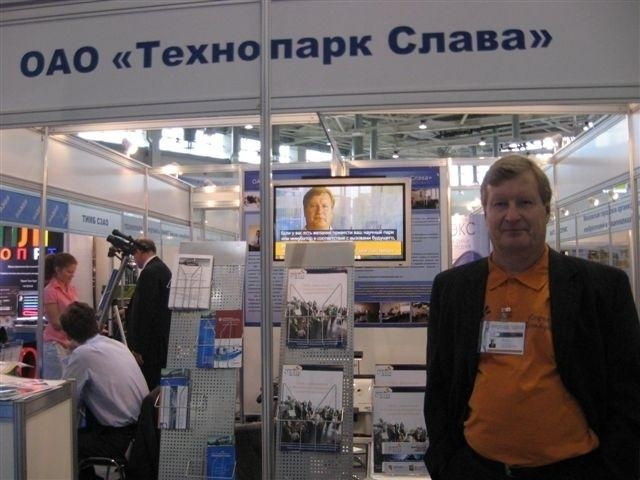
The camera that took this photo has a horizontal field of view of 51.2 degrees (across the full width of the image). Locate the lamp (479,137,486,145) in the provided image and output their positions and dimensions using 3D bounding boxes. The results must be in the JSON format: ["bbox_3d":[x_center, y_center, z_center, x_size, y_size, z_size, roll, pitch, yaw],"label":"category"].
[{"bbox_3d":[3.531,-2.150,14.543,0.115,0.132,0.126,-2,1,22],"label":"lamp"}]

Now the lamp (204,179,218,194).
[{"bbox_3d":[-1.351,-0.693,8.501,0.168,0.186,0.043,-3,-4,40],"label":"lamp"}]

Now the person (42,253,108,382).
[{"bbox_3d":[-2.367,0.914,6.223,0.488,1.568,0.381,9,10,38],"label":"person"}]

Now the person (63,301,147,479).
[{"bbox_3d":[-1.556,1.076,4.778,0.633,1.254,0.440,2,-9,-13],"label":"person"}]
